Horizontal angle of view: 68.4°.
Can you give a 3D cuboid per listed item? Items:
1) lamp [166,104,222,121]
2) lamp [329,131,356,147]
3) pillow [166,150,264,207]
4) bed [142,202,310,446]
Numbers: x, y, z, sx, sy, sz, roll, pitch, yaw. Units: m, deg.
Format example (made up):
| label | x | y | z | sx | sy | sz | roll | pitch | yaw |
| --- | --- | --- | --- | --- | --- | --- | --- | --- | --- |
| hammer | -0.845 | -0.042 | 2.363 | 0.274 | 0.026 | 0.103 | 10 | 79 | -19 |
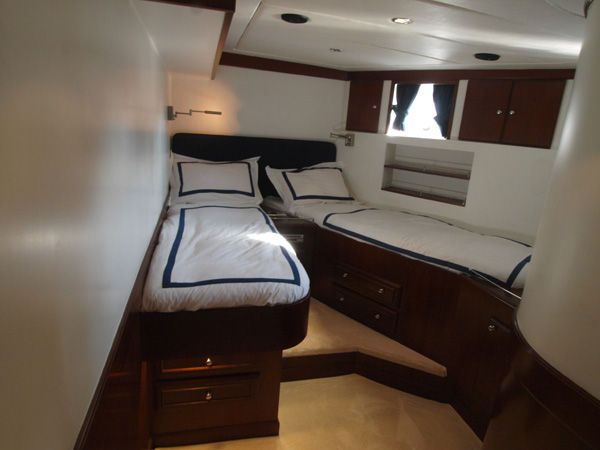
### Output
| label | x | y | z | sx | sy | sz | roll | pitch | yaw |
| --- | --- | --- | --- | --- | --- | --- | --- | --- | --- |
| lamp | -1.056 | -1.088 | 4.282 | 0.555 | 0.199 | 0.114 | 2 | 10 | -30 |
| lamp | 0.467 | -0.946 | 4.876 | 0.078 | 0.154 | 0.347 | -9 | 19 | -36 |
| pillow | -0.803 | -0.421 | 4.207 | 0.858 | 0.413 | 0.589 | -2 | 16 | -16 |
| bed | -0.462 | 0.553 | 2.916 | 0.711 | 0.912 | 1.387 | -1 | 16 | -9 |
